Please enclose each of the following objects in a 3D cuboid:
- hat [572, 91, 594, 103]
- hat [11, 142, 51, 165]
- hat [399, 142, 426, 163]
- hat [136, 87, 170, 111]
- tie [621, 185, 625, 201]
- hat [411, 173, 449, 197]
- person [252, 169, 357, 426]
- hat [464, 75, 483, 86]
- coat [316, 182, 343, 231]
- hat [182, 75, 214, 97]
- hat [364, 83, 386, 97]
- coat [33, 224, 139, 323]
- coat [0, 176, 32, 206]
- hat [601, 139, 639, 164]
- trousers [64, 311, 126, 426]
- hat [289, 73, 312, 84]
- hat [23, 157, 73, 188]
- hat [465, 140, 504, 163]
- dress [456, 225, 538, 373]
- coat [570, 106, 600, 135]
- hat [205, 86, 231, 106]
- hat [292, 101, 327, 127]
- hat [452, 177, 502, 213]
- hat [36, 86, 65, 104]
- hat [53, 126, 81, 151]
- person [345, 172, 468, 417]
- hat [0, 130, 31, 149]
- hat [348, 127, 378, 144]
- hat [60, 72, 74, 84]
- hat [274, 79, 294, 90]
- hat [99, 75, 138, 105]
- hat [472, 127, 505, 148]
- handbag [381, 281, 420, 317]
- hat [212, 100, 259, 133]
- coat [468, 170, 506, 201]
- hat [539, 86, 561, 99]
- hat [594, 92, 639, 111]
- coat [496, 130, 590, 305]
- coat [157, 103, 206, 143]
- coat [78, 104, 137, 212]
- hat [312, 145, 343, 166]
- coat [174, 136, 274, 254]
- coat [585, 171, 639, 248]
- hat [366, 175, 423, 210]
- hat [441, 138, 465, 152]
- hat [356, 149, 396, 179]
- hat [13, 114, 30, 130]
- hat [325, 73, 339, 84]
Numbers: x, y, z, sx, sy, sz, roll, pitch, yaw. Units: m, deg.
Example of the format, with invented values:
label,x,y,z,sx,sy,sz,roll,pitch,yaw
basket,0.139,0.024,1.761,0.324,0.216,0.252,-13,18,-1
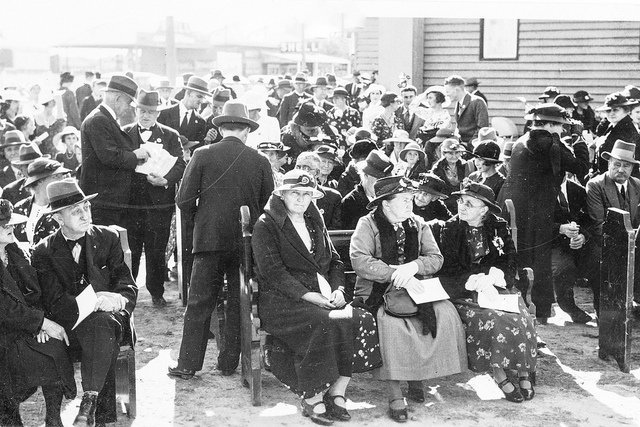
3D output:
label,x,y,z,sx,sy,sz,roll,pitch,yaw
hat,4.164,-1.840,11.733,0.331,0.173,0.273,0,14,-1
hat,-3.398,-0.679,8.680,0.533,0.211,0.552,-9,2,-27
hat,1.133,-0.747,9.251,0.326,0.258,0.264,4,15,15
hat,-1.968,-1.302,8.458,0.385,0.149,0.389,6,26,-14
tie,3.365,-0.234,8.188,0.037,0.120,0.043,2,15,6
hat,1.150,-0.293,7.655,0.330,0.116,0.358,18,9,-41
person,-0.132,0.666,6.258,0.857,1.954,0.968,-2,15,-6
hat,2.383,-2.032,11.606,0.242,0.100,0.270,-18,1,1
coat,0.119,-0.039,7.676,0.424,0.382,0.147,-5,2,-41
hat,-1.617,-1.679,9.773,0.315,0.111,0.277,20,1,-15
hat,1.038,-2.280,13.624,0.346,0.087,0.348,-26,-23,20
coat,-1.954,0.509,6.085,0.812,0.761,0.465,-12,2,-28
coat,-3.376,-0.232,8.190,0.313,0.287,0.170,-41,5,-13
hat,3.373,-0.645,8.138,0.407,0.165,0.351,22,-8,-16
trousers,-1.725,1.225,5.933,0.327,0.831,0.531,-3,-4,21
hat,-0.384,-2.495,13.760,0.496,0.173,0.514,0,6,1
hat,-2.850,-0.412,7.510,0.466,0.171,0.450,-29,-4,15
hat,1.849,-0.679,8.193,0.279,0.100,0.231,17,12,-14
dress,1.517,0.780,6.586,0.784,1.186,0.376,-7,-11,-5
coat,4.273,-1.478,11.867,0.505,0.459,0.178,2,-2,-7
hat,-1.357,-1.534,10.017,0.419,0.203,0.546,3,16,-12
hat,-0.125,-1.243,9.313,0.375,0.280,0.445,8,16,28
hat,1.488,-0.190,6.882,0.463,0.152,0.341,21,10,-20
hat,-4.329,-1.784,11.640,0.455,0.153,0.331,-7,19,39
hat,-3.732,-1.077,10.823,0.395,0.114,0.402,-36,-25,22
person,0.749,0.662,6.452,0.888,1.873,0.945,-8,17,-29
hat,-3.974,-0.960,9.568,0.362,0.130,0.306,-10,6,-4
hat,0.543,-1.006,9.610,0.318,0.135,0.360,1,5,8
hat,-4.255,-2.233,12.263,0.230,0.159,0.185,1,14,2
hat,-0.682,-2.471,14.213,0.262,0.159,0.461,-2,14,-9
hat,-2.093,-1.283,7.720,0.275,0.136,0.232,9,13,-39
hat,2.094,-0.875,9.103,0.348,0.173,0.493,-4,21,34
handbag,0.685,0.744,6.472,0.345,0.142,0.389,18,43,-20
hat,-0.824,-0.938,6.845,0.415,0.168,0.449,5,1,-2
coat,1.754,-0.282,7.705,0.292,0.269,0.157,22,-12,23
hat,3.407,-1.757,10.930,0.231,0.136,0.300,-1,9,10
hat,3.664,-1.373,9.271,0.318,0.094,0.309,-14,6,-2
coat,2.559,-0.154,8.293,0.978,1.668,0.768,-6,15,-8
coat,-1.846,-1.175,9.602,0.821,0.433,0.467,12,3,-31
coat,-2.250,-0.545,7.830,0.537,1.353,0.540,-8,36,-24
hat,0.088,-0.634,8.524,0.304,0.262,0.504,1,14,2
coat,-0.901,0.129,7.113,0.924,1.802,0.595,1,24,-9
coat,3.288,-0.042,8.176,0.620,0.754,0.368,-2,15,-7
hat,0.591,-0.216,6.675,0.518,0.185,0.434,-20,-3,-1
hat,1.633,-0.840,9.154,0.288,0.109,0.359,0,3,6
hat,0.580,-0.447,7.637,0.350,0.135,0.281,39,28,15
hat,-4.409,-1.322,10.812,0.236,0.170,0.210,2,13,31
hat,0.211,-2.700,14.842,0.400,0.155,0.457,-1,3,-1
